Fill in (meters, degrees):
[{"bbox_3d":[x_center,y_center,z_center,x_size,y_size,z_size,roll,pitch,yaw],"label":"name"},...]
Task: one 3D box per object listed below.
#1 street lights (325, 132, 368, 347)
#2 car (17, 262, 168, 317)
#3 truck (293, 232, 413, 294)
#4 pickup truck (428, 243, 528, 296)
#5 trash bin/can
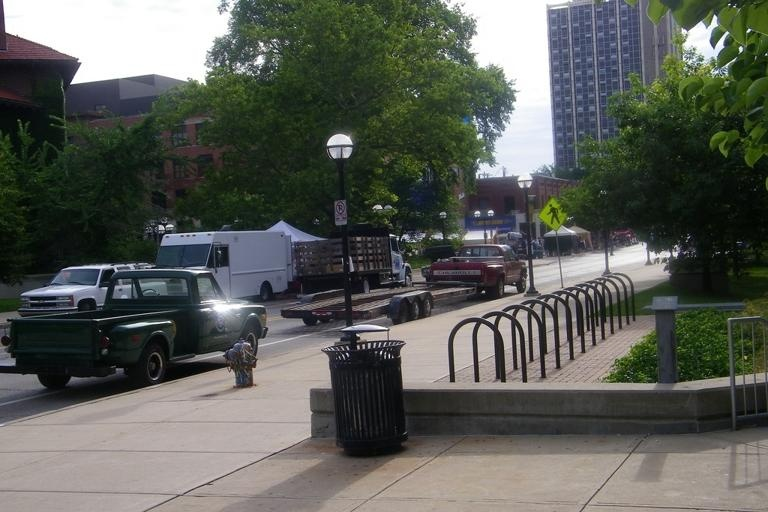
[{"bbox_3d":[-0.935,-0.500,21.449,0.950,4.769,0.946,-2,3,15],"label":"street lights"},{"bbox_3d":[-11.076,1.389,34.546,2.723,1.962,5.415,0,3,22],"label":"car"},{"bbox_3d":[-1.149,0.121,38.295,2.328,2.162,5.857,0,4,30],"label":"truck"},{"bbox_3d":[3.853,0.462,36.083,2.546,1.915,5.572,3,3,26],"label":"pickup truck"},{"bbox_3d":[-0.338,2.097,14.072,1.243,1.720,1.568,-1,-2,-32],"label":"trash bin/can"}]
